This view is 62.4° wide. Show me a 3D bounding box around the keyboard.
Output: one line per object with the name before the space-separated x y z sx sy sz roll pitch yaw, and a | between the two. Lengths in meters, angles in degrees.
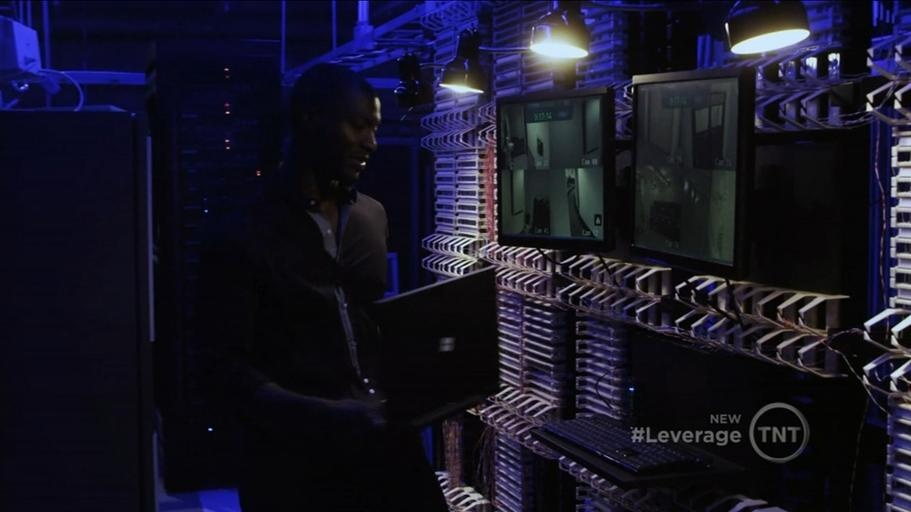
keyboard | 0.936 1.102 4.381 0.386 0.158 0.857 -8 6 -37

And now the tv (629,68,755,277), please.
tv | 1.265 -0.460 4.044 0.221 1.087 0.702 -10 7 -30
